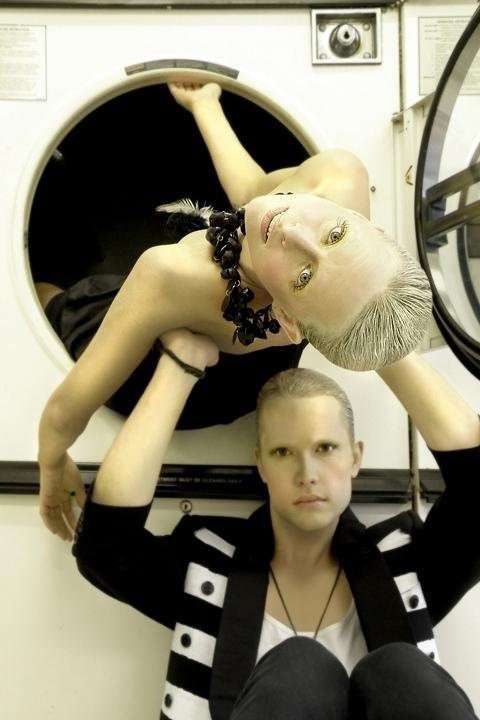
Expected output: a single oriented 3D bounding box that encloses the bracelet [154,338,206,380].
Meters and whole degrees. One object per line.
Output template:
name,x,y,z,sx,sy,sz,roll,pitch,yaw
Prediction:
bracelet,-0.087,0.004,0.944,0.063,0.049,0.016,46,-67,-6
